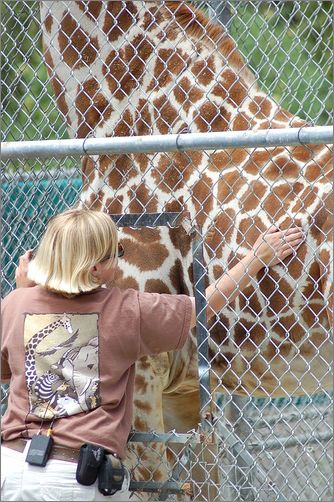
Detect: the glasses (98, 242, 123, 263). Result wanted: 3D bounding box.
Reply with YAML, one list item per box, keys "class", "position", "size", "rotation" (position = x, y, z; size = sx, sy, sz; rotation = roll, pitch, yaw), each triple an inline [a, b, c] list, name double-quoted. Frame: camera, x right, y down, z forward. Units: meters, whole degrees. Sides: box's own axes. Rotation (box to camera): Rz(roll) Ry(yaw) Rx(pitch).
- class: "glasses"
  position: [-0.167, 0.005, 2.534]
  size: [0.016, 0.051, 0.049]
  rotation: [41, -13, -23]

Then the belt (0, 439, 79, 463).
- class: "belt"
  position: [-0.339, 0.543, 2.289]
  size: [0.114, 0.028, 0.088]
  rotation: [5, -13, 25]
